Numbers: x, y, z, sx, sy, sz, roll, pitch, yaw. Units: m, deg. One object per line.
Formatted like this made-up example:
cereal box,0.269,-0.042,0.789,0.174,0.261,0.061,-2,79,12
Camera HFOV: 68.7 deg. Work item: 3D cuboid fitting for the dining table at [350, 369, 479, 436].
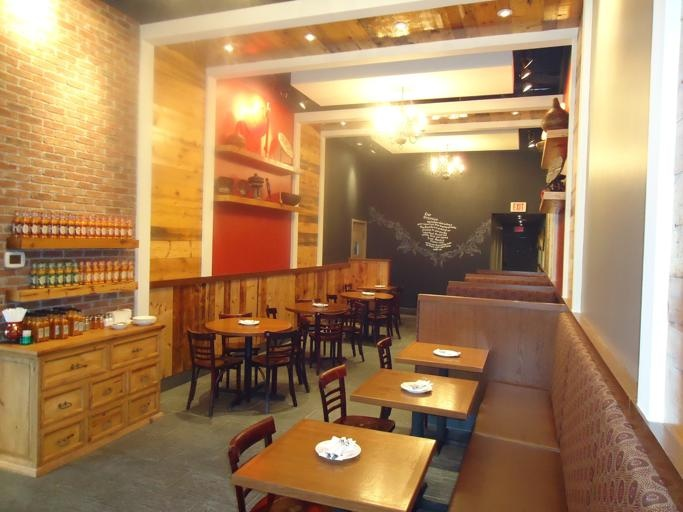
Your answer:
dining table,0.592,1.019,3.780,0.587,0.369,0.595,2,3,24

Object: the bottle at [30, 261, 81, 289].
bottle,-2.567,0.162,4.509,0.254,0.209,0.386,-2,-2,41

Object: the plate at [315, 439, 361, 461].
plate,-0.020,1.117,2.890,0.141,0.039,0.143,3,8,23

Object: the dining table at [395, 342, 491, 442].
dining table,0.981,1.160,4.728,0.769,0.757,0.779,1,4,25

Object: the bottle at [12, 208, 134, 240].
bottle,-2.533,-0.280,4.738,0.204,0.299,1.069,7,10,31

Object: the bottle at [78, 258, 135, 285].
bottle,-2.356,0.155,4.982,0.142,0.244,0.626,6,9,25

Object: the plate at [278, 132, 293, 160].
plate,-0.994,-1.941,8.751,0.103,0.439,0.526,4,9,17

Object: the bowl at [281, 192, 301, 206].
bowl,-0.880,-0.967,8.475,0.181,0.219,0.516,6,9,27
